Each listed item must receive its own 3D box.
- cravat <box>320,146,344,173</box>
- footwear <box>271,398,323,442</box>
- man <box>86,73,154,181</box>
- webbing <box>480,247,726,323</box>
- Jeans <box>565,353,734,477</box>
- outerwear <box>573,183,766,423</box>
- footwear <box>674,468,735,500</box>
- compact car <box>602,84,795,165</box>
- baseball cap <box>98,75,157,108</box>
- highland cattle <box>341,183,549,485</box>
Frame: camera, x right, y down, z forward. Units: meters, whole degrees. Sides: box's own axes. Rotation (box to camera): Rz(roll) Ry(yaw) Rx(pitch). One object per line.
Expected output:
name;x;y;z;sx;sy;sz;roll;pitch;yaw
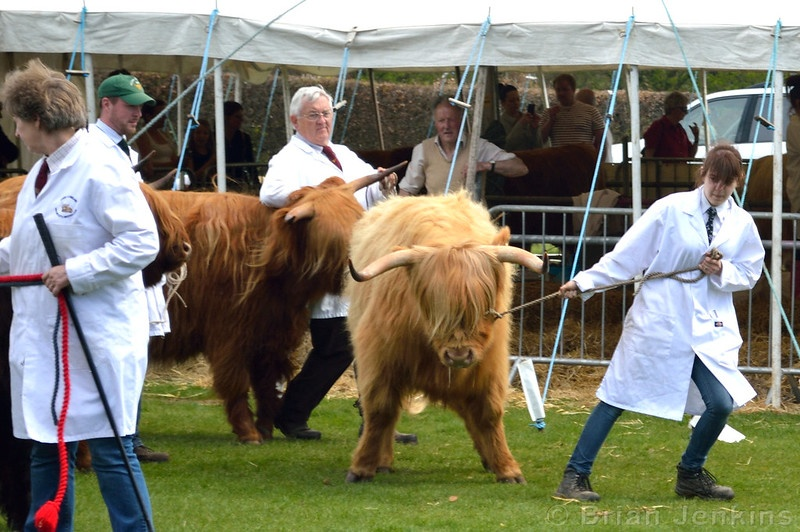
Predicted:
cravat;-0.563;-0.890;12.335;0.083;0.302;0.075;-44;-16;32
footwear;-0.851;1.261;12.641;0.239;0.361;0.574;3;4;-23
man;-2.130;-1.008;11.163;0.708;0.759;0.786;-1;9;0
webbing;1.605;0.150;11.916;1.703;0.193;0.361;-14;-27;6
Jeans;1.949;1.241;11.314;1.474;1.080;0.904;7;-14;-4
outerwear;1.907;0.262;11.183;1.740;1.653;1.079;3;5;-23
footwear;2.185;1.604;11.077;0.530;0.198;0.170;0;-1;6
compact car;3.747;-1.752;18.306;1.701;0.690;0.761;-1;10;-6
baseball cap;-1.984;-1.281;11.043;0.389;0.159;0.225;-1;5;14
highland cattle;0.261;0.562;11.280;1.477;1.536;0.965;6;3;11
